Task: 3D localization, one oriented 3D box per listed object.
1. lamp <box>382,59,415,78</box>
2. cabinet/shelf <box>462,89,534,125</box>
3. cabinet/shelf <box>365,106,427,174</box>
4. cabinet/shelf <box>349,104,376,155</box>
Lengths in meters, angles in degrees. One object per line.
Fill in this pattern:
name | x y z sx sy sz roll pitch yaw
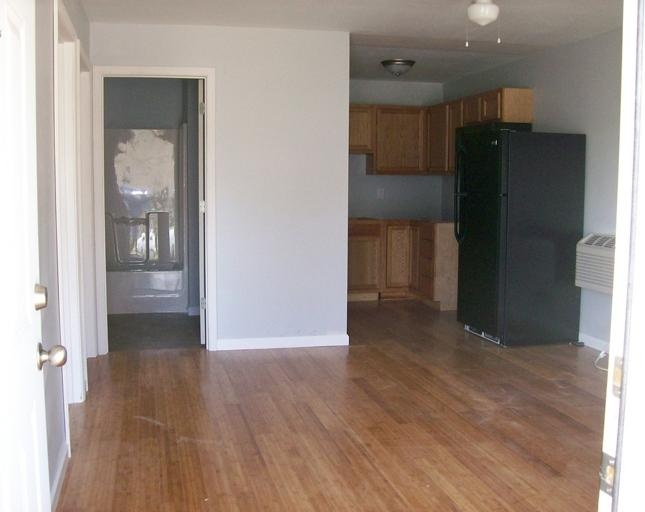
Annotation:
lamp | 0.801 -2.033 5.769 0.335 0.149 0.282 -3 9 -1
cabinet/shelf | 1.752 -1.519 5.584 0.319 0.354 0.792 -9 11 -33
cabinet/shelf | 0.897 -1.471 6.710 0.739 0.999 0.331 0 7 -6
cabinet/shelf | 0.478 -1.556 6.612 0.351 0.579 0.105 -7 10 -28
